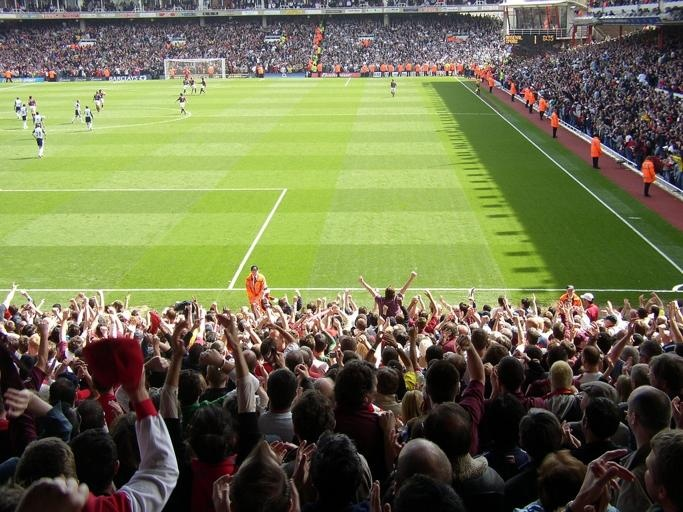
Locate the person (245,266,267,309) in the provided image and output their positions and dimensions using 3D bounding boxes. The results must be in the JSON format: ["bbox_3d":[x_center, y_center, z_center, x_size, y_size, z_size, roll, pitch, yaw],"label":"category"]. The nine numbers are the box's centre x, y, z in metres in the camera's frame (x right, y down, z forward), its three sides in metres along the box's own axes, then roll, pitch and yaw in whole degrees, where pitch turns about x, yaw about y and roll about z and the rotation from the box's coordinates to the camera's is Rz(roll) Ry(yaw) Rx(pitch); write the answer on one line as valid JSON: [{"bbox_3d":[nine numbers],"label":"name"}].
[{"bbox_3d":[-2.102,0.981,16.006,0.449,1.448,0.444,1,22,2],"label":"person"}]
